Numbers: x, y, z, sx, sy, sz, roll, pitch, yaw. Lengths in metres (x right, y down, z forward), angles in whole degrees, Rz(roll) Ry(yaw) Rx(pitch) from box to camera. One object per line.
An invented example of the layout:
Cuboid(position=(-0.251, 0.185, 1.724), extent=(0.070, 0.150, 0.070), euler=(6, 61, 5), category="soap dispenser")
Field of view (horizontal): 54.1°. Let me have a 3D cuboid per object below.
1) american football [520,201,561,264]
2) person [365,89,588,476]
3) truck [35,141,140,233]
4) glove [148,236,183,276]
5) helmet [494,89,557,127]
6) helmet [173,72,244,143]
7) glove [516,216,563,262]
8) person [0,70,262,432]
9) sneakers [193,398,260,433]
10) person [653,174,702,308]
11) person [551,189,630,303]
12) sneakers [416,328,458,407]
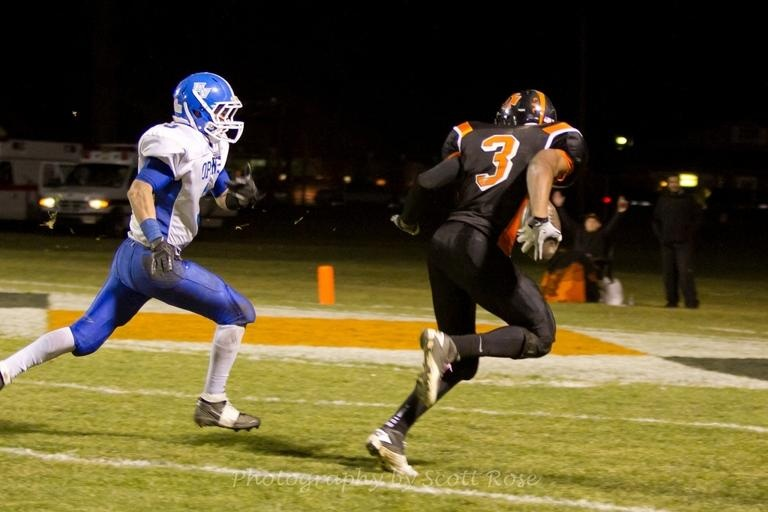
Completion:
Cuboid(position=(0.925, -0.150, 4.511), extent=(0.178, 0.331, 0.270), euler=(3, -7, -44), category="american football")
Cuboid(position=(0.678, -0.074, 4.793), extent=(1.073, 2.335, 0.639), euler=(5, 0, 11), category="person")
Cuboid(position=(-9.478, -2.590, 25.430), extent=(2.383, 2.198, 4.380), euler=(5, 18, 6), category="truck")
Cuboid(position=(-1.449, 0.004, 4.908), extent=(0.221, 0.227, 0.081), euler=(-6, 4, -6), category="glove")
Cuboid(position=(0.953, -1.006, 5.088), extent=(0.410, 0.266, 0.273), euler=(-5, 9, -4), category="helmet")
Cuboid(position=(-1.281, -1.085, 5.459), extent=(0.570, 0.407, 0.419), euler=(12, 14, -1), category="helmet")
Cuboid(position=(0.924, -0.147, 4.507), extent=(0.207, 0.105, 0.239), euler=(16, 22, 14), category="glove")
Cuboid(position=(-1.518, -0.030, 5.225), extent=(1.545, 2.401, 0.697), euler=(4, 1, -15), category="person")
Cuboid(position=(-1.151, 1.131, 5.466), extent=(0.542, 0.214, 0.172), euler=(13, -12, -27), category="sneakers")
Cuboid(position=(4.858, -0.237, 12.509), extent=(0.784, 2.240, 0.594), euler=(5, 1, -8), category="person")
Cuboid(position=(3.454, -0.113, 12.859), extent=(1.365, 1.824, 1.148), euler=(6, -5, -8), category="person")
Cuboid(position=(0.289, 0.712, 4.726), extent=(0.283, 0.489, 0.199), euler=(7, 6, -15), category="sneakers")
